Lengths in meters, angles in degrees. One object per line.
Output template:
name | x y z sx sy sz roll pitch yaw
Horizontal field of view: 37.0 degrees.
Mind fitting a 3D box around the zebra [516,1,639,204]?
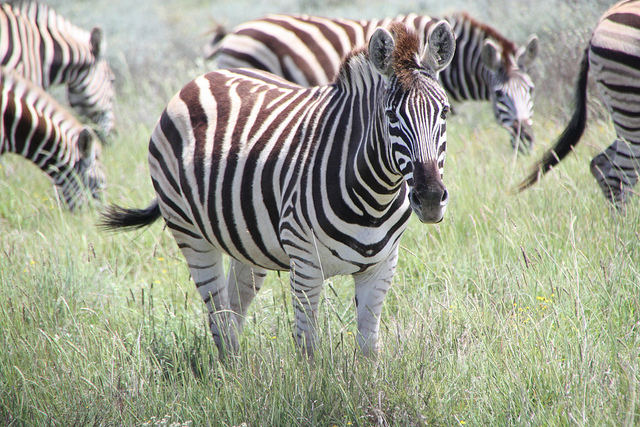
zebra | 2.893 -1.130 9.676 1.001 1.873 1.158 17 24 31

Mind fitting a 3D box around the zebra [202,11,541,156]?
zebra | 0.511 -1.087 11.348 4.165 2.716 1.294 1 -9 1

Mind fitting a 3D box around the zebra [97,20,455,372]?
zebra | -0.558 -0.129 9.130 4.582 3.402 1.421 10 18 44
